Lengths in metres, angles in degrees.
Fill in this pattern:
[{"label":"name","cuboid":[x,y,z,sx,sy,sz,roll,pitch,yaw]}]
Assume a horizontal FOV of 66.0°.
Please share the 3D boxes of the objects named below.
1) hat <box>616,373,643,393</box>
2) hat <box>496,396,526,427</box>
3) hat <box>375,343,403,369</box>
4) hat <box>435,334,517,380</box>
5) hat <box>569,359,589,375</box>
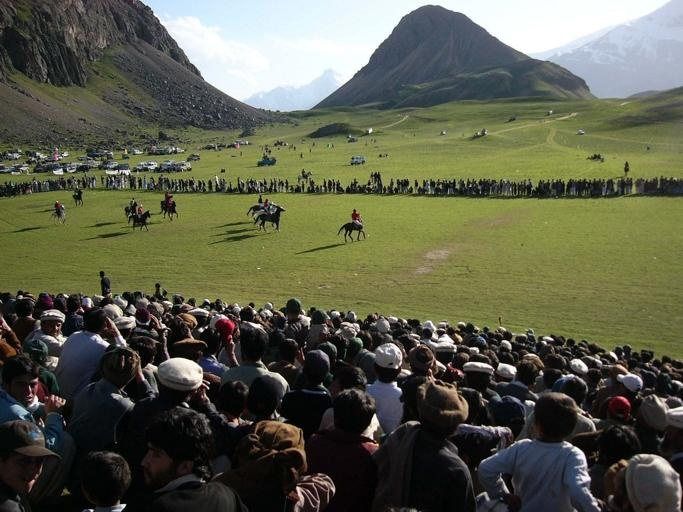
[{"label":"hat","cuboid":[5.054,2.226,9.331,0.319,0.196,0.392,-10,33,-17]},{"label":"hat","cuboid":[2.437,2.214,7.570,0.368,0.299,0.326,-3,15,-7]},{"label":"hat","cuboid":[0.690,1.516,7.889,0.378,0.378,0.278,1,15,7]},{"label":"hat","cuboid":[2.606,1.965,9.844,0.938,0.596,1.187,9,-6,-11]},{"label":"hat","cuboid":[4.869,2.283,10.898,0.329,0.104,0.369,6,18,-15]}]
